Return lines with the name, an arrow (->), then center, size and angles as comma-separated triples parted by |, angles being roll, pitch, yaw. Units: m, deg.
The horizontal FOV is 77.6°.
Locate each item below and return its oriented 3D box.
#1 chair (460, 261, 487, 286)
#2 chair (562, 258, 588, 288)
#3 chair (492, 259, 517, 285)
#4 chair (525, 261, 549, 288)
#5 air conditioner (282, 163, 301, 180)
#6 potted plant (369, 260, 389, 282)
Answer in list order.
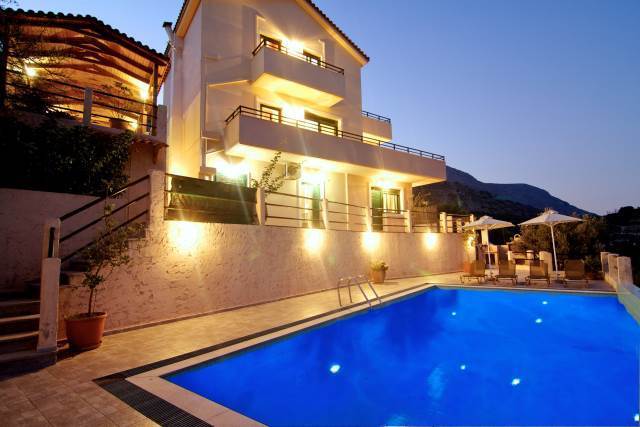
chair -> 6.656, 2.576, 17.228 | 1.073, 1.051, 1.544 | -6, -6, 35
chair -> 9.936, 2.216, 15.393 | 0.817, 0.877, 1.458 | -6, -7, 31
chair -> 7.702, 2.393, 16.380 | 0.839, 0.929, 1.238 | -5, -8, 24
chair -> 8.702, 2.275, 15.699 | 0.906, 1.182, 1.106 | -5, -13, 34
air conditioner -> -1.237, -1.809, 17.237 | 0.494, 0.838, 0.932 | 1, 0, 41
potted plant -> 2.610, 2.499, 16.808 | 0.818, 0.807, 0.861 | 4, -7, -30
